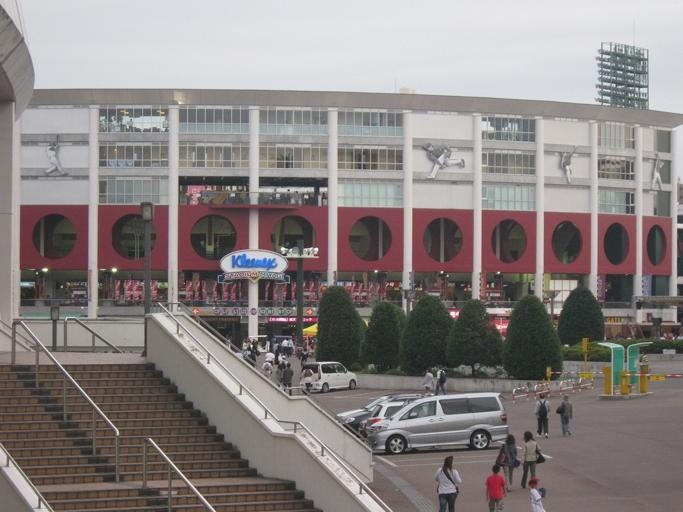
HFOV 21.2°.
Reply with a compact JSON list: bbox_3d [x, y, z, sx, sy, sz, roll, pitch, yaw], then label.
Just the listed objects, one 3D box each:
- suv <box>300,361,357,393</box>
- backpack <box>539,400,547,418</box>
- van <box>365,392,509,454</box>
[{"bbox_3d":[-1.008,8.052,121.114,4.515,1.998,1.616,0,-3,-43],"label":"suv"},{"bbox_3d":[11.663,8.811,105.417,0.633,0.927,0.356,-1,-2,-23],"label":"backpack"},{"bbox_3d":[5.738,9.599,104.506,7.298,3.175,0.977,-2,-2,-9],"label":"van"}]
